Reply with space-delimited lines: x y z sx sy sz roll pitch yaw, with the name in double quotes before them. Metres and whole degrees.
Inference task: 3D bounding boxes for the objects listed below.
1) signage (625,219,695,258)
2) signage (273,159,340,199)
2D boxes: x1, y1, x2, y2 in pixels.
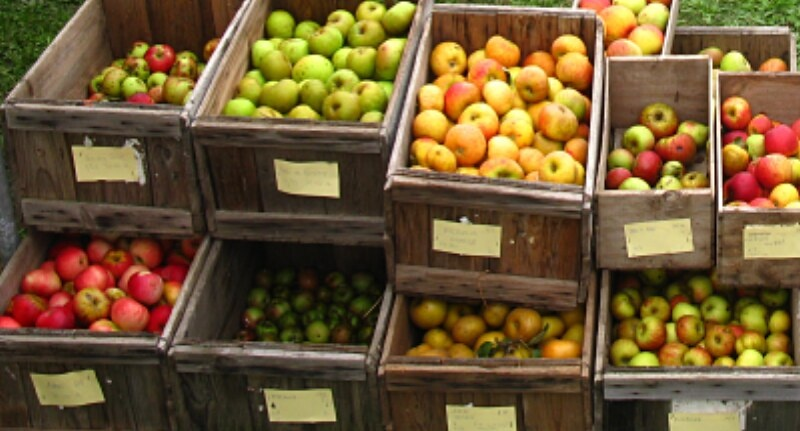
"signage" 1.539 0.125 4.067 0.411 0.222 0.084 -4 7 7
"signage" -0.582 -0.233 4.287 0.415 0.252 0.024 0 22 6
